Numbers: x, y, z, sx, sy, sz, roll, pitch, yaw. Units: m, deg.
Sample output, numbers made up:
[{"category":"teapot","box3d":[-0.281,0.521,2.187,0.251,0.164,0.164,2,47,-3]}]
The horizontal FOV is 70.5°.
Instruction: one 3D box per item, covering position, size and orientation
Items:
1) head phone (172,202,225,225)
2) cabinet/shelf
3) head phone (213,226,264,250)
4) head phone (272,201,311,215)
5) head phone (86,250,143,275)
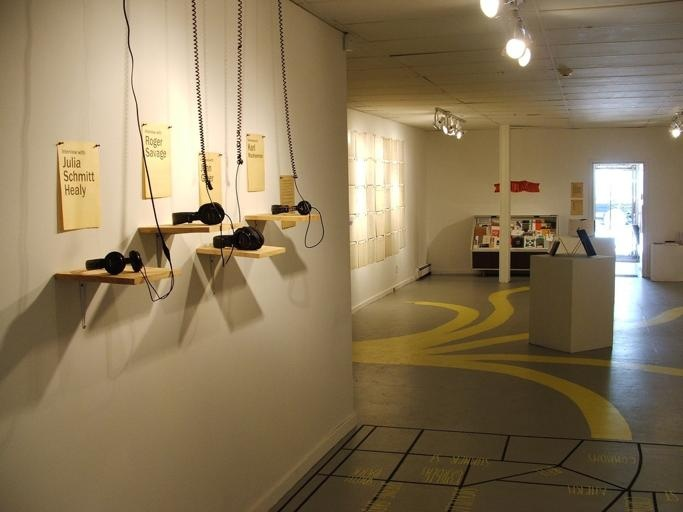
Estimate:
[{"category":"head phone","box3d":[-0.750,-0.212,2.537,0.181,0.096,0.150,-6,11,-17]},{"category":"cabinet/shelf","box3d":[4.496,-0.271,12.630,2.105,1.557,0.897,1,6,18]},{"category":"head phone","box3d":[-0.605,-0.103,2.788,0.355,0.134,0.145,3,8,34]},{"category":"head phone","box3d":[-0.353,-0.327,3.374,0.191,0.079,0.148,-3,5,-10]},{"category":"head phone","box3d":[-0.988,0.033,2.101,0.162,0.091,0.132,-6,3,22]}]
